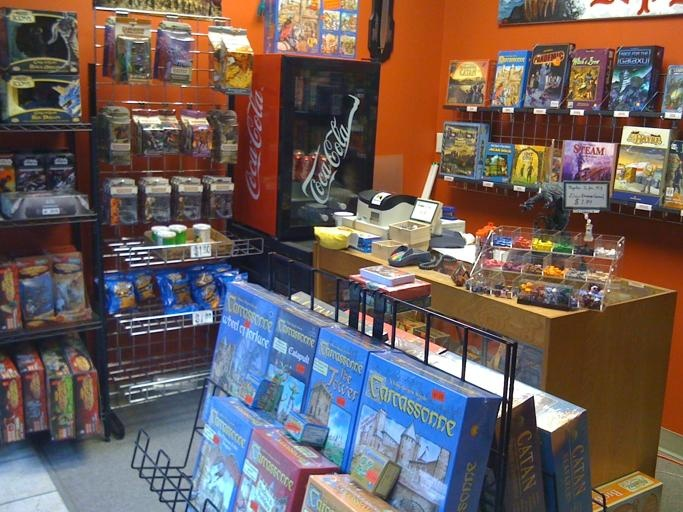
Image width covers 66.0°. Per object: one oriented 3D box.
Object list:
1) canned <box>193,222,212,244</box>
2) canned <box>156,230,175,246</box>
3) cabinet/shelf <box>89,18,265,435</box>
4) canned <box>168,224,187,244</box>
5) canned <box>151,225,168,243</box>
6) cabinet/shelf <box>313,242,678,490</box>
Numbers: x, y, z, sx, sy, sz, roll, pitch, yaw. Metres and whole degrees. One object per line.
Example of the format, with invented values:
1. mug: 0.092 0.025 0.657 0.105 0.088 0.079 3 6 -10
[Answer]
1. canned: -1.017 -0.161 3.882 0.128 0.149 0.130 18 23 41
2. canned: -1.225 -0.121 3.651 0.094 0.100 0.099 8 13 29
3. cabinet/shelf: -1.243 -0.761 3.904 1.120 0.576 2.635 -4 63 -17
4. canned: -1.162 -0.162 3.733 0.120 0.140 0.127 0 11 -8
5. canned: -1.282 -0.152 3.705 0.105 0.116 0.112 1 3 -3
6. cabinet/shelf: 1.063 0.478 3.136 0.950 1.290 1.866 -6 11 -32
